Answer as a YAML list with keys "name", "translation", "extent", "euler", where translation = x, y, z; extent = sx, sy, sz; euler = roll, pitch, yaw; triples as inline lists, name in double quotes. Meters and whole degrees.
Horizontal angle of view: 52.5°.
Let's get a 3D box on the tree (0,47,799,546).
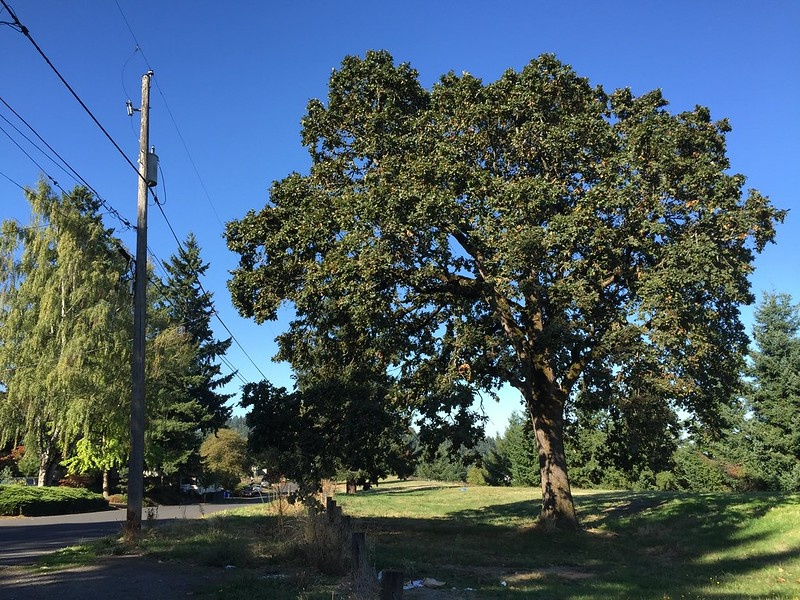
- name: "tree"
  translation: [0.951, -1.260, 43.547]
  extent: [29.384, 20.126, 23.623]
  euler: [-1, -4, 0]
